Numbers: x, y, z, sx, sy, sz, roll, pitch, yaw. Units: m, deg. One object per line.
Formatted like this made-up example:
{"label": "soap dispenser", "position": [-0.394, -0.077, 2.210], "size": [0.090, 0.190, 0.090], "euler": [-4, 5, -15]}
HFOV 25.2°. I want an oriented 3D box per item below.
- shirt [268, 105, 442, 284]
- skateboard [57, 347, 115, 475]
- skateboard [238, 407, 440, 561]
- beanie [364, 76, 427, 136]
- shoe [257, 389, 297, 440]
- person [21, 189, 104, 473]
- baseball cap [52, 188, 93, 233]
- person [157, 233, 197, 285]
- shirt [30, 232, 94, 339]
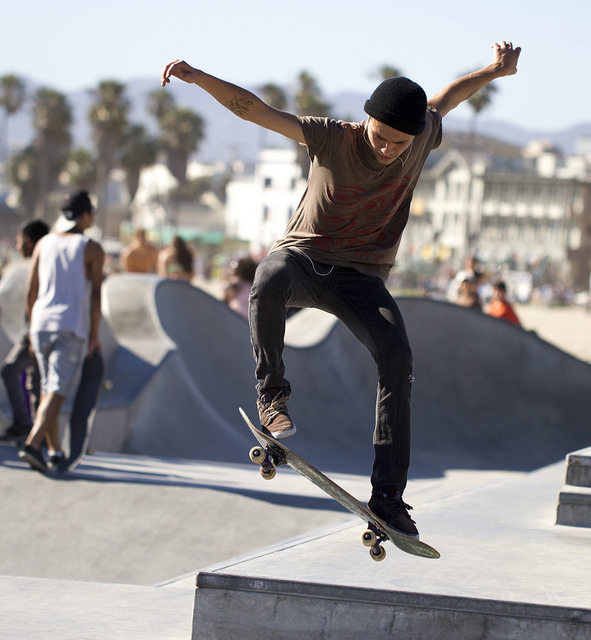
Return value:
{"label": "shirt", "position": [0.291, -0.649, 6.457], "size": [0.798, 0.748, 0.382], "euler": [4, 2, -3]}
{"label": "skateboard", "position": [-1.400, 0.588, 8.762], "size": [0.279, 1.136, 0.193], "euler": [12, 9, -9]}
{"label": "skateboard", "position": [0.159, 0.828, 6.319], "size": [1.214, 0.204, 0.250], "euler": [38, 5, 0]}
{"label": "beanie", "position": [0.506, -1.026, 6.273], "size": [0.307, 0.235, 0.302], "euler": [-4, 31, -33]}
{"label": "shoe", "position": [-0.099, 0.449, 6.502], "size": [0.168, 0.213, 0.456], "euler": [-12, 11, -14]}
{"label": "person", "position": [-1.484, 0.085, 8.497], "size": [0.499, 1.383, 0.521], "euler": [4, 2, -12]}
{"label": "baseball cap", "position": [-1.439, -0.712, 8.622], "size": [0.235, 0.221, 0.261], "euler": [4, 2, -2]}
{"label": "person", "position": [-1.188, -0.551, 13.762], "size": [0.416, 0.754, 0.175], "euler": [12, 34, 19]}
{"label": "shirt", "position": [-1.475, -0.224, 8.405], "size": [0.320, 0.684, 0.364], "euler": [-8, 20, -17]}
